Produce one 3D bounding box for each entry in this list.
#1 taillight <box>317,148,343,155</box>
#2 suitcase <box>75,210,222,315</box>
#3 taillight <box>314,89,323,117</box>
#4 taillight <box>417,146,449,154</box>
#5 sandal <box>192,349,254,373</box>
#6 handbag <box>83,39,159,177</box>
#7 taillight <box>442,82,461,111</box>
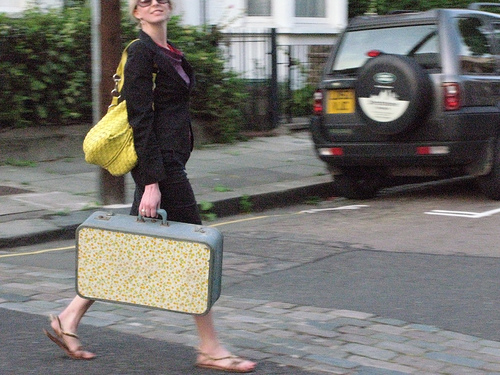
[{"bbox_3d":[1.115,-0.492,9.062,0.393,0.099,0.028,6,19,43],"label":"taillight"},{"bbox_3d":[-0.611,0.370,3.978,1.025,0.443,0.283,9,25,22],"label":"suitcase"},{"bbox_3d":[0.962,-1.188,9.229,0.121,0.386,0.204,-11,14,-17],"label":"taillight"},{"bbox_3d":[2.321,-0.467,8.270,0.370,0.098,0.028,0,15,14],"label":"taillight"},{"bbox_3d":[-0.175,1.094,4.094,0.414,0.089,0.124,-1,1,10],"label":"sandal"},{"bbox_3d":[-0.792,-0.476,3.979,0.515,0.844,0.375,-8,14,-10],"label":"handbag"},{"bbox_3d":[2.522,-1.137,8.173,0.207,0.360,0.096,-4,14,7],"label":"taillight"}]
